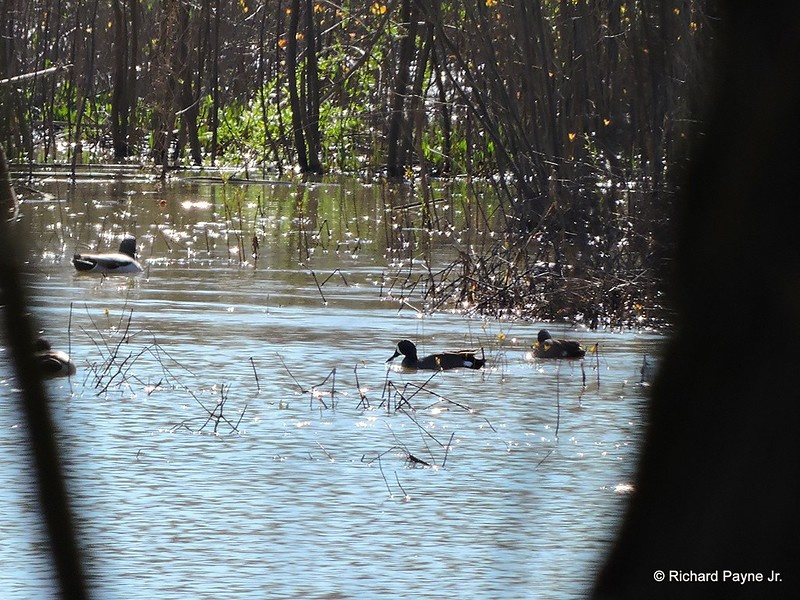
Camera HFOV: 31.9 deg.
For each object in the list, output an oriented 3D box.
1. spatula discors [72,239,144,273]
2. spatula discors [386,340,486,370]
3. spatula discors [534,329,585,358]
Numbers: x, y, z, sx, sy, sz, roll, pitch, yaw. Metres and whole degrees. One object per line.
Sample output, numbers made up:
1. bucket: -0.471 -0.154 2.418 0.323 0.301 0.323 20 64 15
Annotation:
1. spatula discors: -2.649 -0.360 12.664 0.555 0.324 0.403 -1 5 -25
2. spatula discors: 0.231 0.343 8.545 0.561 0.185 0.170 2 11 7
3. spatula discors: 1.002 0.311 8.813 0.321 0.119 0.184 2 11 4
